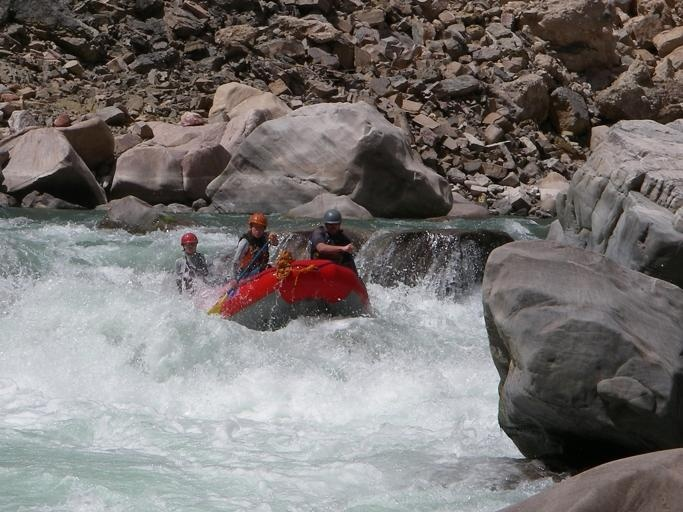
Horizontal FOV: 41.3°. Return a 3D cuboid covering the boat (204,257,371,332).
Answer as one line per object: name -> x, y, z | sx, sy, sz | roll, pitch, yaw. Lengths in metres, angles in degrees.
boat -> -0.476, 0.771, 14.363 | 2.221, 0.931, 2.900 | -6, -17, 0

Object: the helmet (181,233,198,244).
helmet -> -2.376, -0.287, 14.168 | 0.227, 0.194, 0.276 | 6, 16, -12

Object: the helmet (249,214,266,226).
helmet -> -1.266, -0.556, 13.736 | 0.254, 0.225, 0.295 | 7, 16, -7

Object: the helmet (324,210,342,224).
helmet -> -0.134, -0.608, 13.690 | 0.211, 0.184, 0.239 | 1, 19, -5
